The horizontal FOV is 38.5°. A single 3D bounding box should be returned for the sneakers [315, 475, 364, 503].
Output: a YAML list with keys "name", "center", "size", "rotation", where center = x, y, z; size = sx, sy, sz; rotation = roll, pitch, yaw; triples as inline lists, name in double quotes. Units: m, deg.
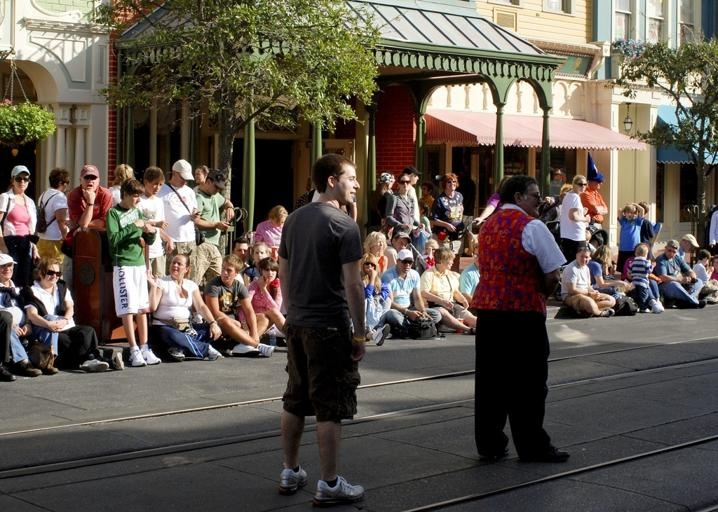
- name: "sneakers"
  center: [-0.175, 1.949, 8.548]
  size: [0.415, 0.192, 0.187]
  rotation: [-1, 1, -22]

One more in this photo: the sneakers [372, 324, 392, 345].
- name: "sneakers"
  center: [0.316, 1.085, 14.379]
  size: [0.173, 0.142, 0.394]
  rotation: [4, 41, 27]

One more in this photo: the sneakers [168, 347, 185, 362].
- name: "sneakers"
  center: [-2.314, 1.239, 12.964]
  size: [0.214, 0.216, 0.130]
  rotation: [-1, 5, -12]

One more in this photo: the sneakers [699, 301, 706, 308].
- name: "sneakers"
  center: [6.221, 0.868, 18.569]
  size: [0.121, 0.089, 0.120]
  rotation: [-7, 10, -42]

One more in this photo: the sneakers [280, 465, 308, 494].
- name: "sneakers"
  center: [-0.561, 1.891, 8.734]
  size: [0.259, 0.220, 0.216]
  rotation: [0, 8, -12]

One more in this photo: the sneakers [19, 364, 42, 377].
- name: "sneakers"
  center: [-3.818, 1.324, 11.859]
  size: [0.291, 0.126, 0.101]
  rotation: [0, 1, 1]

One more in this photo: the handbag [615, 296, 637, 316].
- name: "handbag"
  center: [4.556, 0.847, 17.480]
  size: [0.373, 0.171, 0.275]
  rotation: [4, -17, -35]

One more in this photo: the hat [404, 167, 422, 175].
- name: "hat"
  center: [0.906, -1.426, 17.440]
  size: [0.254, 0.134, 0.176]
  rotation: [4, 9, -24]

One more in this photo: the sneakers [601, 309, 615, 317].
- name: "sneakers"
  center: [4.194, 0.957, 17.282]
  size: [0.275, 0.118, 0.094]
  rotation: [4, 0, -11]

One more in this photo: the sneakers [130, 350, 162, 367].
- name: "sneakers"
  center: [-2.654, 1.243, 12.629]
  size: [0.295, 0.133, 0.192]
  rotation: [3, 2, 21]

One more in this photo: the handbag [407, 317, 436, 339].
- name: "handbag"
  center: [0.892, 1.047, 14.811]
  size: [0.353, 0.267, 0.260]
  rotation: [1, -6, 6]

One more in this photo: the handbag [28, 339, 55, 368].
- name: "handbag"
  center: [-3.748, 1.144, 12.041]
  size: [0.298, 0.217, 0.120]
  rotation: [4, -17, 1]

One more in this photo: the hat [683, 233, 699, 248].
- name: "hat"
  center: [6.986, -0.329, 21.577]
  size: [0.318, 0.169, 0.224]
  rotation: [18, 4, -5]

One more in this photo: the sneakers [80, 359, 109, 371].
- name: "sneakers"
  center: [-3.124, 1.309, 12.203]
  size: [0.362, 0.167, 0.131]
  rotation: [0, -27, -1]

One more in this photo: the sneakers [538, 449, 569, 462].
- name: "sneakers"
  center: [1.772, 1.821, 9.384]
  size: [0.320, 0.138, 0.108]
  rotation: [-3, 4, -5]

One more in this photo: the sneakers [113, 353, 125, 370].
- name: "sneakers"
  center: [-2.884, 1.262, 12.349]
  size: [0.092, 0.276, 0.117]
  rotation: [-13, 9, -26]

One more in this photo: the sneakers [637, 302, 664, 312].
- name: "sneakers"
  center: [5.089, 0.887, 17.926]
  size: [0.454, 0.199, 0.171]
  rotation: [1, 2, 16]
